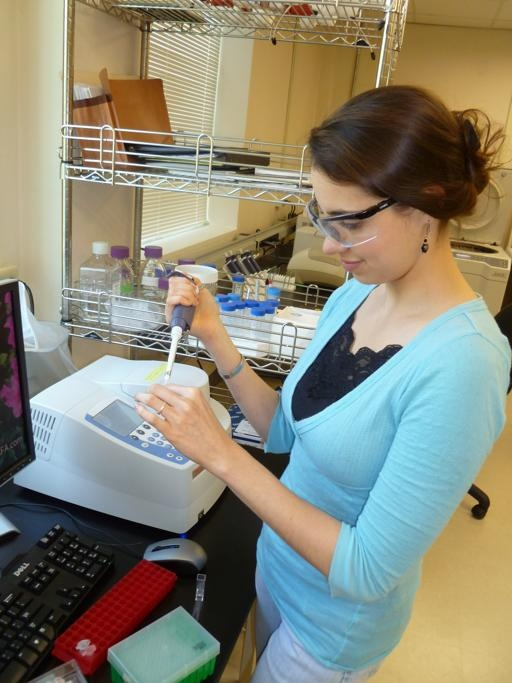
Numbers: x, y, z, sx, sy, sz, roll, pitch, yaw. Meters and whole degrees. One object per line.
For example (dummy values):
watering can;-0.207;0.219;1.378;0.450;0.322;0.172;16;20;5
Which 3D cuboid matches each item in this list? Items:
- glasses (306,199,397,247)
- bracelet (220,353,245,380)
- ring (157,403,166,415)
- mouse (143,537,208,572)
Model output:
glasses;0.113;-0.149;0.676;0.068;0.024;0.067;-33;37;-12
bracelet;-0.041;0.045;1.030;0.015;0.043;0.046;43;40;-24
ring;-0.118;0.084;0.671;0.005;0.013;0.011;30;-11;0
mouse;-0.131;0.351;0.889;0.092;0.028;0.048;6;13;0
